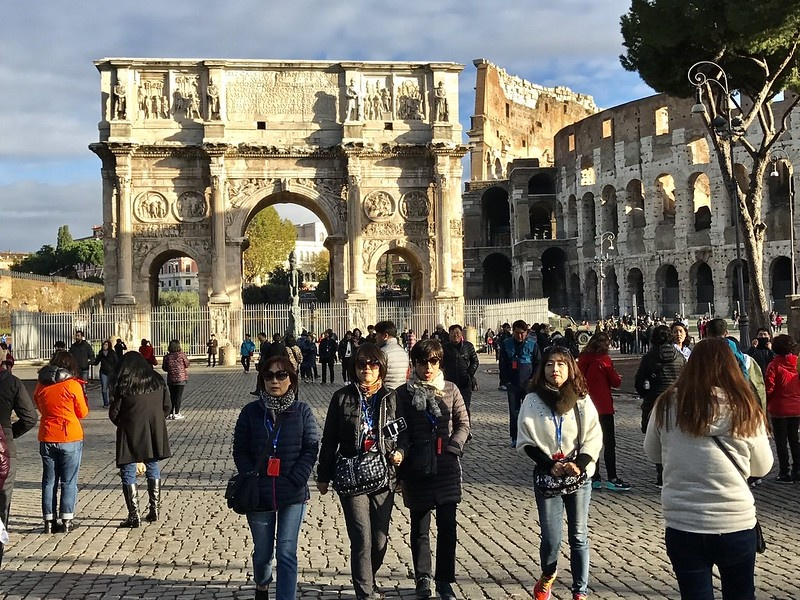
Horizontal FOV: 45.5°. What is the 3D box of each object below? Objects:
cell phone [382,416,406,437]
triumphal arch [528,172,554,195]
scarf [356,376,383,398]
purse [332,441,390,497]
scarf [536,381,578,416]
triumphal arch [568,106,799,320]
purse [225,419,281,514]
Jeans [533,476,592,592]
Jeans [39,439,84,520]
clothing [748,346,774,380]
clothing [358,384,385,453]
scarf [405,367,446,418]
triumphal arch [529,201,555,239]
[{"bbox_3d":[-0.055,1.142,8.555,0.207,0.123,0.062,-22,5,-35],"label":"cell phone"},{"bbox_3d":[10.458,-8.869,70.811,1.932,1.938,1.518,0,-4,1],"label":"triumphal arch"},{"bbox_3d":[-0.287,0.785,8.642,0.176,0.111,0.205,-4,-1,3],"label":"scarf"},{"bbox_3d":[-0.331,1.494,8.462,0.396,0.390,0.182,-9,-17,3],"label":"purse"},{"bbox_3d":[1.402,0.873,8.537,0.294,0.165,0.250,11,7,3],"label":"scarf"},{"bbox_3d":[16.543,-5.871,58.903,11.890,11.033,16.373,-1,-5,0],"label":"triumphal arch"},{"bbox_3d":[-1.269,1.476,8.313,0.481,0.677,0.207,-3,1,-10],"label":"purse"},{"bbox_3d":[1.482,2.143,8.601,0.483,0.748,0.394,-4,2,-45],"label":"Jeans"},{"bbox_3d":[-3.897,2.086,11.019,0.450,0.911,0.576,-3,1,-22],"label":"Jeans"},{"bbox_3d":[4.905,0.865,12.995,0.438,0.489,0.253,1,-9,-11],"label":"clothing"},{"bbox_3d":[-0.277,1.093,8.550,0.221,0.419,0.404,-1,-10,-3],"label":"clothing"},{"bbox_3d":[0.240,0.851,8.748,0.284,0.394,0.127,3,-14,-8],"label":"scarf"},{"bbox_3d":[11.271,-6.185,74.850,2.489,3.556,2.651,0,-3,-1],"label":"triumphal arch"}]
